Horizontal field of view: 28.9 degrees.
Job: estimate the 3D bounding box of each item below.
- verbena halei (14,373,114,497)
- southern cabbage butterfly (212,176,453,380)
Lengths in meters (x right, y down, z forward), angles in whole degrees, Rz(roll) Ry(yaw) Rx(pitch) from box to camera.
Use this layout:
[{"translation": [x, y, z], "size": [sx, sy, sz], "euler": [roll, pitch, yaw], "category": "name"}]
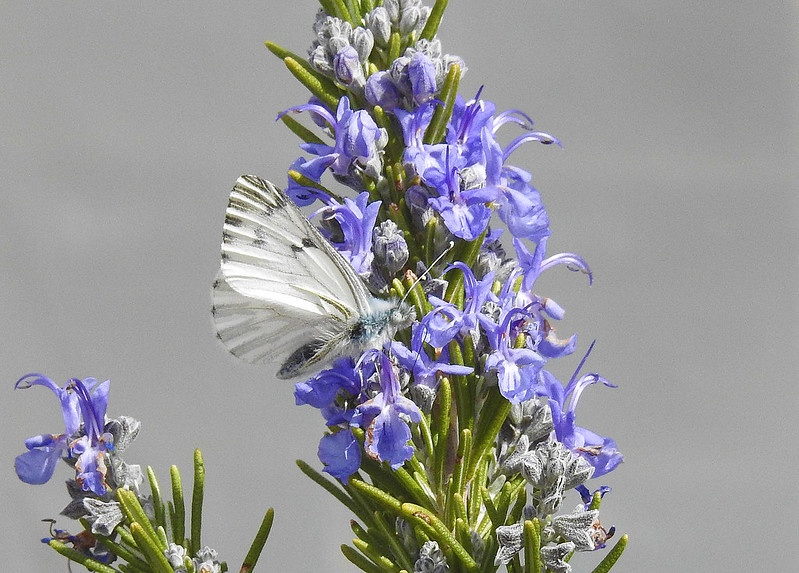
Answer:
[{"translation": [-1.141, 0.489, 5.337], "size": [0.326, 0.371, 0.343], "euler": [7, -48, -11], "category": "verbena halei"}, {"translation": [-0.331, 0.027, 5.335], "size": [0.660, 0.423, 0.523], "euler": [16, -51, -18], "category": "southern cabbage butterfly"}]
